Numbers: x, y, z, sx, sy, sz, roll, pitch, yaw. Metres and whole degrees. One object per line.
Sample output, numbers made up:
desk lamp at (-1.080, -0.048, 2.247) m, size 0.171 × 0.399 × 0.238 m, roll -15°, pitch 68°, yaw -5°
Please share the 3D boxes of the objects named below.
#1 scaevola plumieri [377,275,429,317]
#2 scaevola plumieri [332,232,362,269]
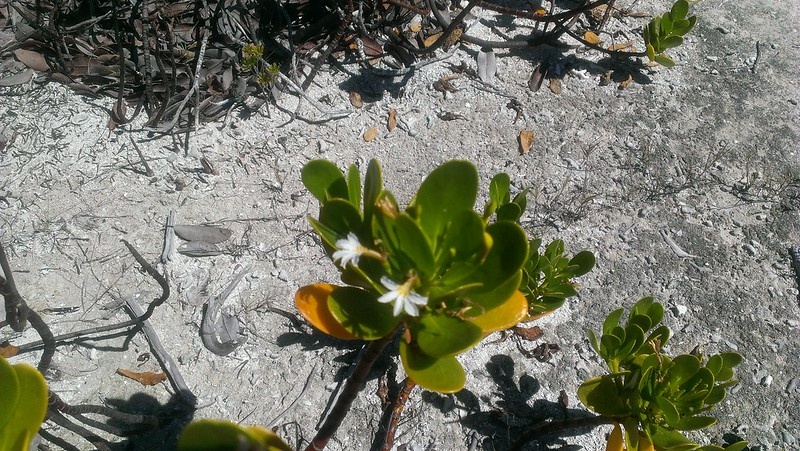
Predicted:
scaevola plumieri at (-0.003, 0.329, 3.220) m, size 0.212 × 0.205 × 0.297 m, roll -3°, pitch 27°, yaw -13°
scaevola plumieri at (-0.257, 0.131, 3.249) m, size 0.137 × 0.172 × 0.159 m, roll 23°, pitch 31°, yaw -4°
